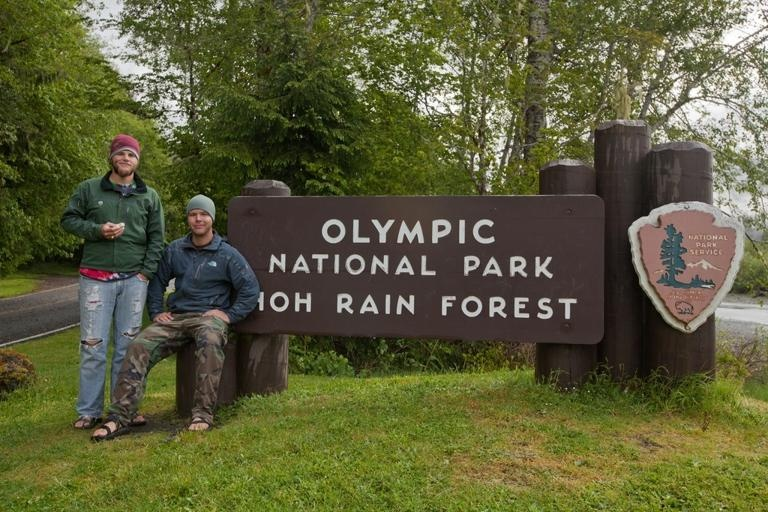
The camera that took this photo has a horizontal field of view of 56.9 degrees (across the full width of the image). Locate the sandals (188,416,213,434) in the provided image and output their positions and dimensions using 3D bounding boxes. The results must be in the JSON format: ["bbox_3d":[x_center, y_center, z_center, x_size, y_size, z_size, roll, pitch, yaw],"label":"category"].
[{"bbox_3d":[-2.627,2.437,10.335,0.369,0.167,0.242,5,-3,-21],"label":"sandals"}]

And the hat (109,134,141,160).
[{"bbox_3d":[-3.938,-1.686,10.873,0.493,0.420,0.504,-2,4,-12],"label":"hat"}]
